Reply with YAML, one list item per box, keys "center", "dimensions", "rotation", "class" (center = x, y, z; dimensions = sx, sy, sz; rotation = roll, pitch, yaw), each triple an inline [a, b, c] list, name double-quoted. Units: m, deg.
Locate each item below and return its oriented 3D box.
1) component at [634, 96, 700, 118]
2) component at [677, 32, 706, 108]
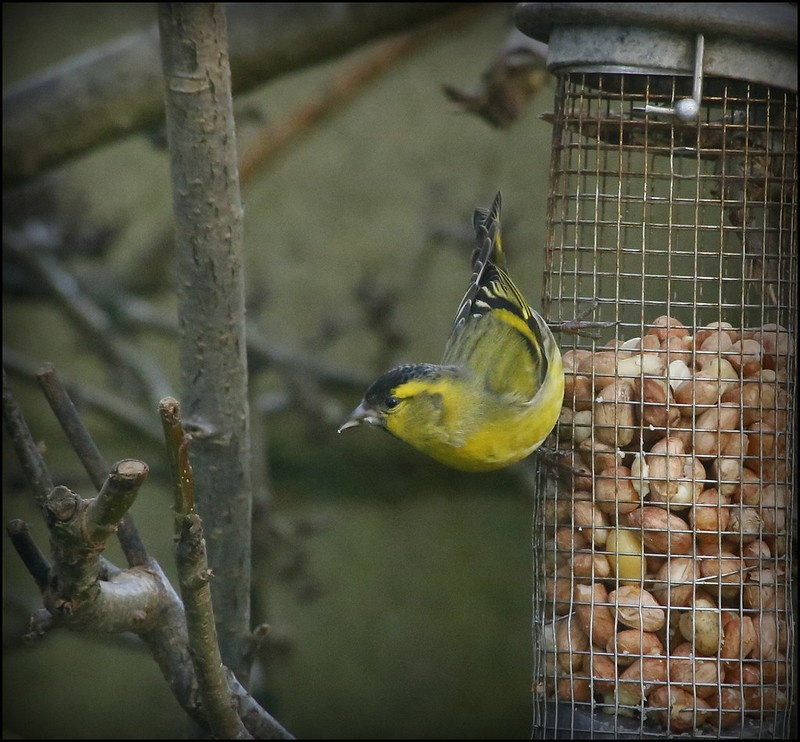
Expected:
- center: [0.818, -0.706, 4.472]
  dimensions: [0.219, 0.078, 0.078]
  rotation: [1, 3, 21]
  class: "component"
- center: [0.901, -0.806, 4.439]
  dimensions: [0.072, 0.253, 0.054]
  rotation: [-4, 23, -10]
  class: "component"
